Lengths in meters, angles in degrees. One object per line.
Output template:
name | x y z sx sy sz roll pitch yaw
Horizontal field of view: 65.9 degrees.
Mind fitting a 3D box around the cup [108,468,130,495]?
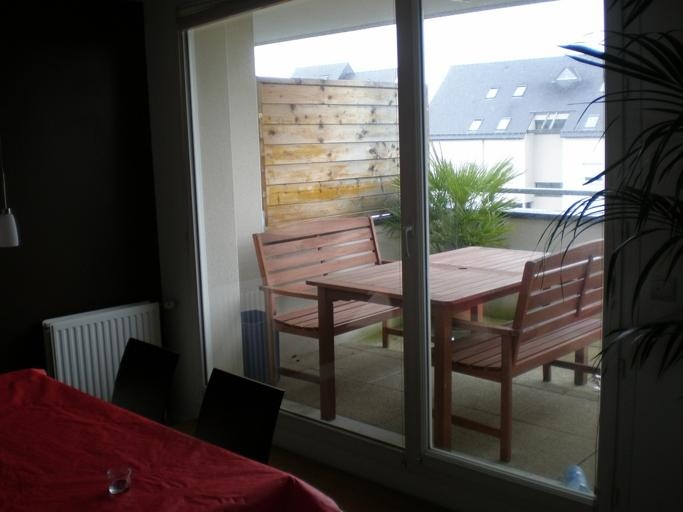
cup | -0.754 0.764 1.784 0.066 0.064 0.079 1 -3 -13

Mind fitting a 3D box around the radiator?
radiator | -1.578 0.602 3.354 0.592 0.628 0.047 -15 17 -34

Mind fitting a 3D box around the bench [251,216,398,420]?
bench | -0.070 0.349 3.163 0.529 0.956 1.181 4 11 37
